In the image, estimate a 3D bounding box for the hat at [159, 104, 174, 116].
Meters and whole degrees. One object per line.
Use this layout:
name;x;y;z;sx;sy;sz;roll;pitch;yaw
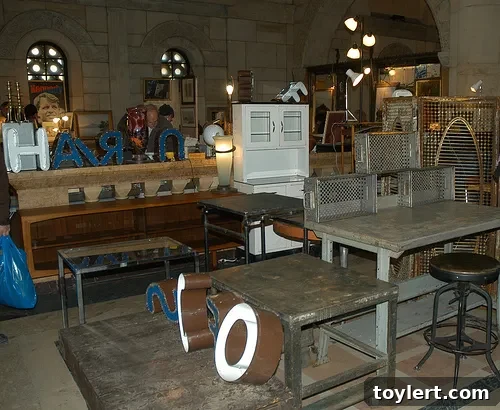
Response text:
hat;-1.631;-1.830;8.255;0.302;0.265;0.404;-5;15;-28

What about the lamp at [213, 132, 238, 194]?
lamp;-0.340;-0.596;6.113;0.309;0.803;0.226;-6;13;-10

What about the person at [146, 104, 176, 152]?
person;-1.508;-1.300;7.132;0.479;0.767;2.190;-6;11;-10

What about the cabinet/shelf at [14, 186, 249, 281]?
cabinet/shelf;-1.471;0.313;5.834;2.847;0.624;0.606;-6;10;-22

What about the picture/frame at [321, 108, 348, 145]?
picture/frame;1.842;-1.702;9.352;0.178;0.674;0.777;7;1;25

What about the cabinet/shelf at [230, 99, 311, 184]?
cabinet/shelf;0.326;-0.978;6.639;1.290;1.182;0.394;-9;12;-33
